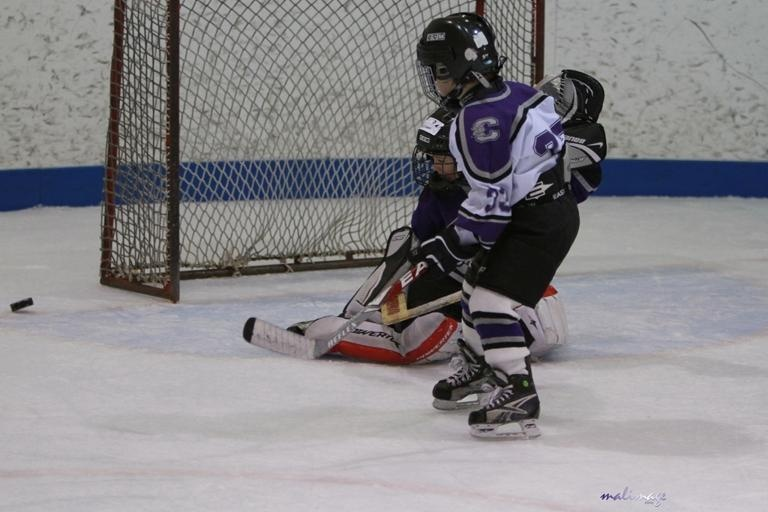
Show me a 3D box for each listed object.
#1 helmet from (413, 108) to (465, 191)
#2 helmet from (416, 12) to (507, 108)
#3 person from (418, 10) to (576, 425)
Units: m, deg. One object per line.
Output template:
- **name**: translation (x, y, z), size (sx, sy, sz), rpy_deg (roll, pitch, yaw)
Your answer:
- **helmet**: translation (0.282, -0.446, 4.267), size (0.375, 0.303, 0.256), rpy_deg (-3, 25, -3)
- **helmet**: translation (0.306, -0.819, 4.081), size (0.424, 0.357, 0.330), rpy_deg (21, 34, 35)
- **person**: translation (0.389, -0.136, 3.936), size (0.675, 1.578, 0.509), rpy_deg (9, 17, 20)
